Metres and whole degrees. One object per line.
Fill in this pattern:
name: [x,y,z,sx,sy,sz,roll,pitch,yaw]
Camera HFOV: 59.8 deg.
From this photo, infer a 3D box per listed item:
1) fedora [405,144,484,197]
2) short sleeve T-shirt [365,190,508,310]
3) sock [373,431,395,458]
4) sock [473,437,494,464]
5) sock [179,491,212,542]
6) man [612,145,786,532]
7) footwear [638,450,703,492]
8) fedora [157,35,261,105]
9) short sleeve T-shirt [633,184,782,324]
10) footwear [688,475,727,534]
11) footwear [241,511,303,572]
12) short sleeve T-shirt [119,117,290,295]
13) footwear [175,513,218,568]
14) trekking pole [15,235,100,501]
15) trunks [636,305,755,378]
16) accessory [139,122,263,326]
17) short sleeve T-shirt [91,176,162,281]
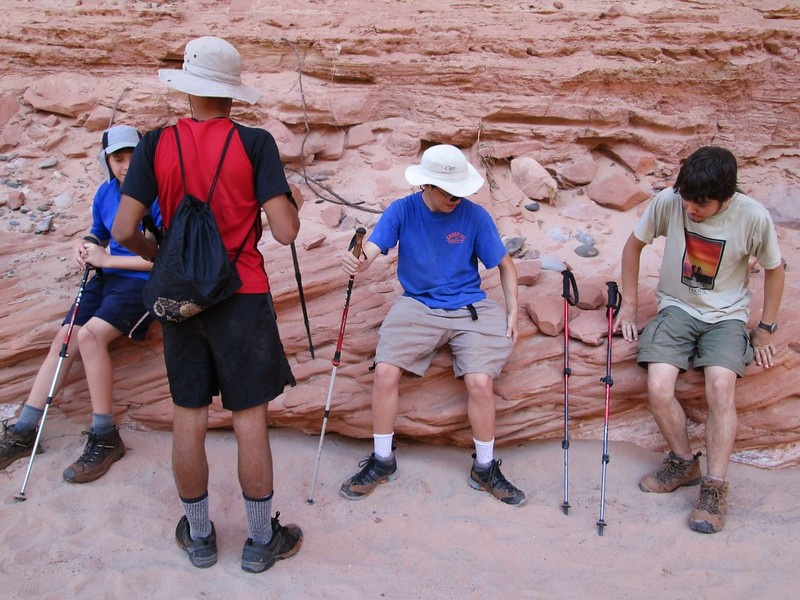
fedora: [0.298,-0.923,4.908,0.438,0.201,0.448,-17,36,-33]
short sleeve T-shirt: [0.280,-0.360,5.172,1.063,0.786,0.550,-2,21,-4]
sock: [-0.103,1.036,4.923,0.177,0.220,0.169,-2,-9,5]
sock: [0.570,1.057,4.945,0.183,0.209,0.165,0,13,5]
sock: [-1.257,1.354,4.325,0.150,0.321,0.342,-4,23,-15]
man: [2.001,0.313,4.901,1.100,2.071,1.050,9,21,28]
footwear: [1.899,1.212,5.018,0.566,0.276,0.200,-13,29,14]
fedora: [-1.097,-1.272,4.090,0.453,0.233,0.474,29,18,29]
short sleeve T-shirt: [2.227,-0.288,5.059,0.911,0.829,0.497,22,47,38]
footwear: [2.069,1.376,4.669,0.220,0.328,0.220,5,19,17]
footwear: [-0.814,1.554,4.568,0.200,0.318,0.523,10,18,37]
short sleeve T-shirt: [-1.091,-0.584,4.248,1.038,0.956,0.571,2,13,12]
footwear: [-1.357,1.528,4.557,0.254,0.202,0.503,-4,18,-28]
trekking pole: [-2.585,0.589,5.255,0.172,1.941,0.285,14,-12,-3]
trunks: [2.105,0.307,4.955,0.619,0.212,0.575,6,38,20]
accessory: [-1.158,-0.423,3.976,0.602,1.083,0.370,-16,24,-38]
short sleeve T-shirt: [-2.089,-0.574,5.320,0.574,0.694,0.255,4,6,13]
